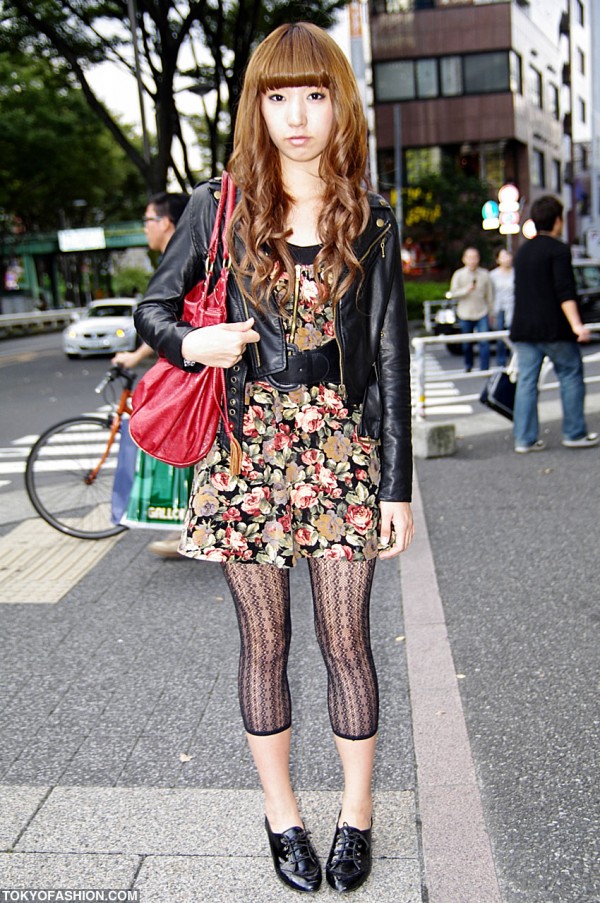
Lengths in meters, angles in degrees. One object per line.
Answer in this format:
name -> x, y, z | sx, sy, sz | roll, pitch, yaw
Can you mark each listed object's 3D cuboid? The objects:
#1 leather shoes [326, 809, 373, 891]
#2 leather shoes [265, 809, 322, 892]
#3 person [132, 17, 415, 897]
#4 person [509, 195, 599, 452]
leather shoes -> 0.099, 0.815, 1.514 | 0.058, 0.060, 0.152 | 4, 32, 3
leather shoes -> -0.013, 0.817, 1.471 | 0.063, 0.062, 0.158 | -9, 44, -16
person -> -0.048, 0.051, 1.437 | 0.526, 1.676, 0.298 | 0, 9, 7
person -> 2.235, -1.115, 6.536 | 0.685, 2.315, 0.599 | 2, 10, 20
